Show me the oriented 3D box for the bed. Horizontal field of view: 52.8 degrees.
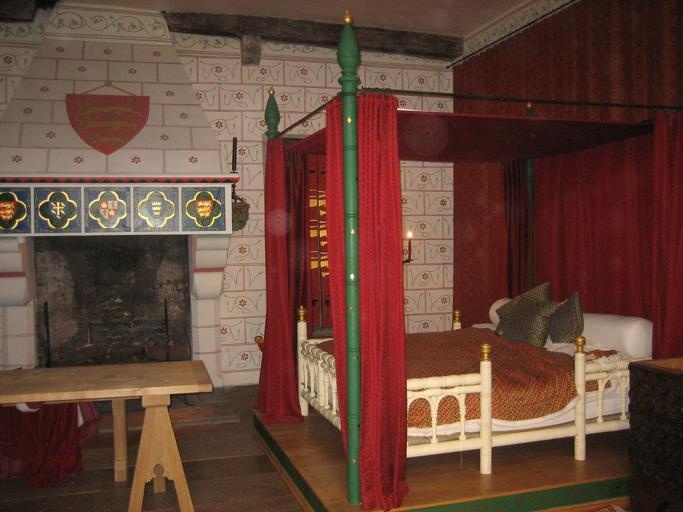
[{"bbox_3d":[1.435,1.141,5.979,1.875,0.826,1.711,0,2,-17],"label":"bed"}]
